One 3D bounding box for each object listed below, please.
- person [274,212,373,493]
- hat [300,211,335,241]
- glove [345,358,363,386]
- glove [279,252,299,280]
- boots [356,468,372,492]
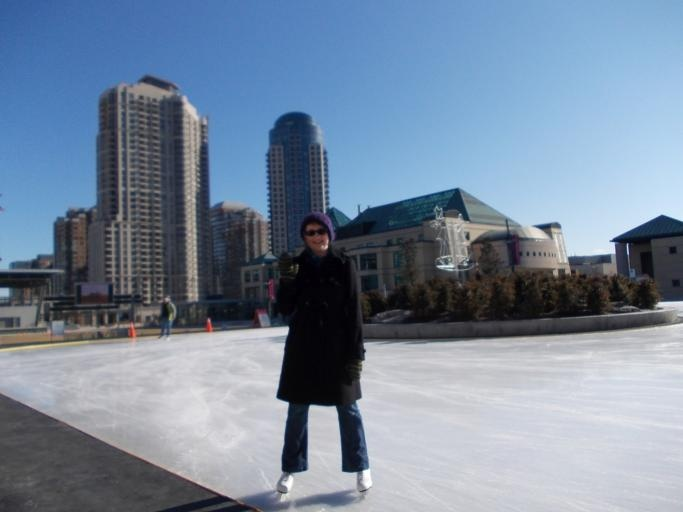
[{"bbox_3d":[-0.224,0.958,5.580,0.952,2.856,0.421,-3,-5,2],"label":"person"},{"bbox_3d":[-0.256,-0.379,5.747,0.287,0.281,0.332,-3,-21,5],"label":"hat"},{"bbox_3d":[0.152,1.219,5.644,0.202,0.316,0.228,0,-10,24],"label":"glove"},{"bbox_3d":[-0.543,0.098,5.558,0.161,0.289,0.168,1,5,-20],"label":"glove"},{"bbox_3d":[0.229,2.262,5.440,0.142,0.198,0.110,-2,-5,-2],"label":"boots"}]
